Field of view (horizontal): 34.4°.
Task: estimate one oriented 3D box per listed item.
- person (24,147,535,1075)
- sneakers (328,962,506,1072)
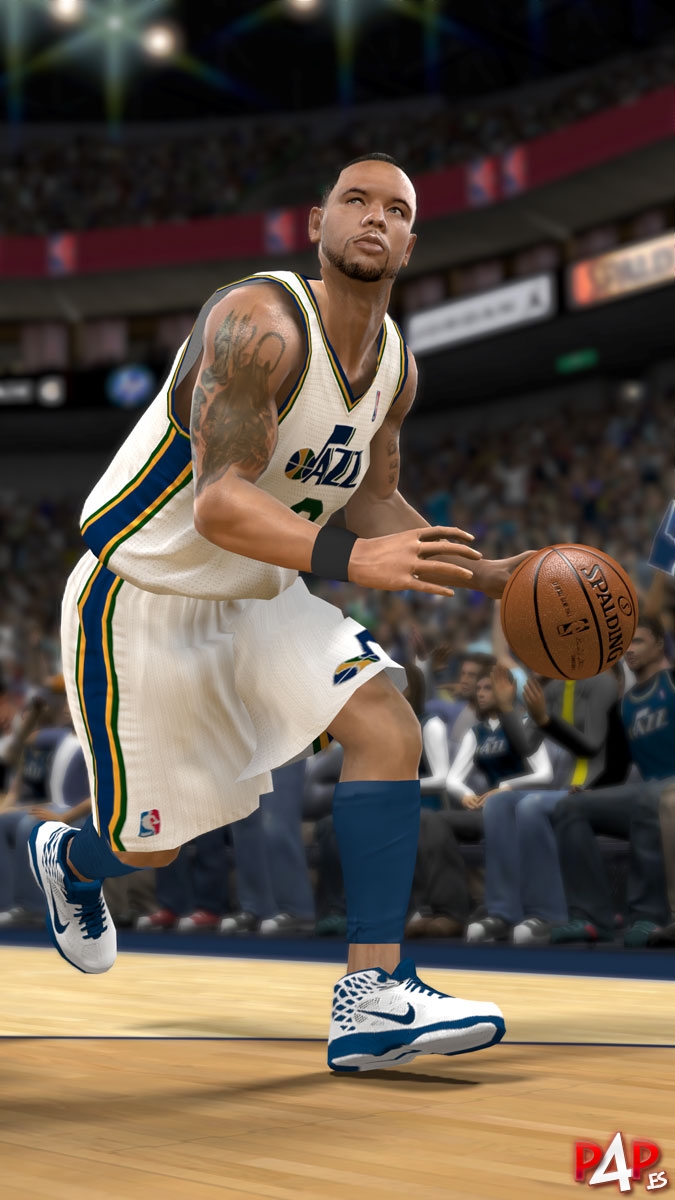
[{"bbox_3d":[-0.195,0.033,1.824,0.870,1.504,0.796,-3,-3,9],"label":"person"},{"bbox_3d":[0.073,0.654,1.705,0.338,0.181,0.119,-4,-25,-5],"label":"sneakers"}]
